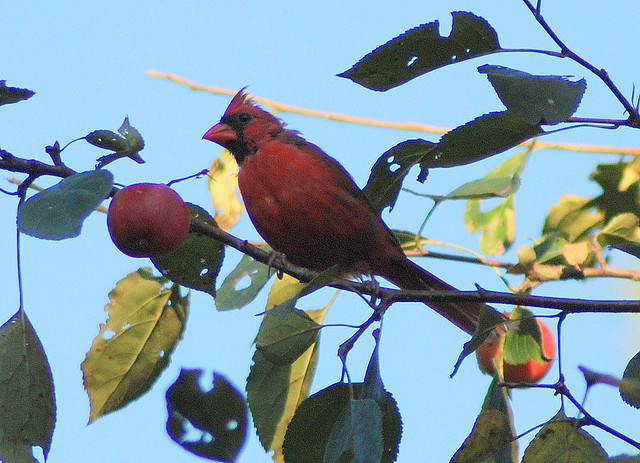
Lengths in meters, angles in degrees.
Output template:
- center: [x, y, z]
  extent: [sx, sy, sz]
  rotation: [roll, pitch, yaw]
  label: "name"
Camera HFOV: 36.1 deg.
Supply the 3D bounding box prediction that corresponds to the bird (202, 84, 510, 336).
- center: [0.283, -0.018, 5.938]
  extent: [2.251, 1.135, 0.583]
  rotation: [17, -37, -8]
  label: "bird"
